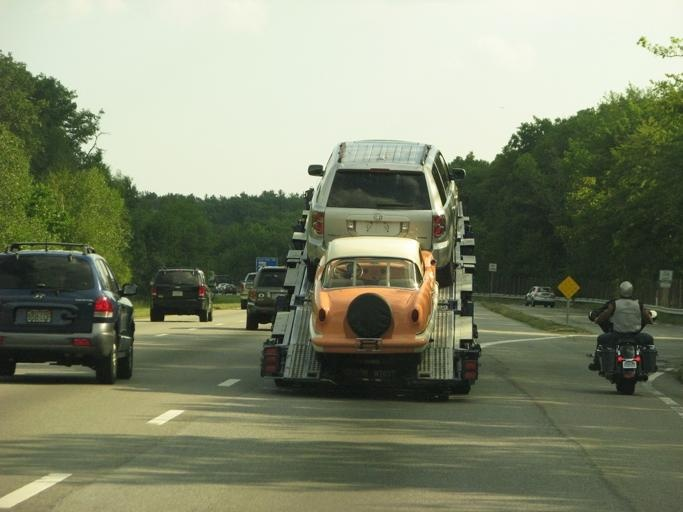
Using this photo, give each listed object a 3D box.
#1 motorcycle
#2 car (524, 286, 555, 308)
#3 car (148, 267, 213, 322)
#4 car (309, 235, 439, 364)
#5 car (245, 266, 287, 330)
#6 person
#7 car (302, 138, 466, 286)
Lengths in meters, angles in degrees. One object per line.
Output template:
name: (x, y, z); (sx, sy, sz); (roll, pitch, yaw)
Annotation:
motorcycle: (5.017, 1.824, 19.683); (0.812, 1.074, 1.817); (0, 2, 5)
car: (15.360, 3.145, 84.656); (1.661, 1.460, 3.812); (3, 0, 2)
car: (-5.994, 1.459, 40.903); (2.142, 1.690, 2.045); (2, 0, -9)
car: (0.486, 0.651, 17.543); (1.922, 1.682, 1.423); (3, 0, -2)
car: (-2.499, 1.391, 35.199); (1.361, 1.456, 3.008); (0, 8, 1)
person: (5.127, 1.071, 20.069); (0.843, 1.052, 1.860); (1, 5, 8)
car: (0.788, -1.072, 20.343); (1.875, 1.473, 3.247); (1, 16, 6)
